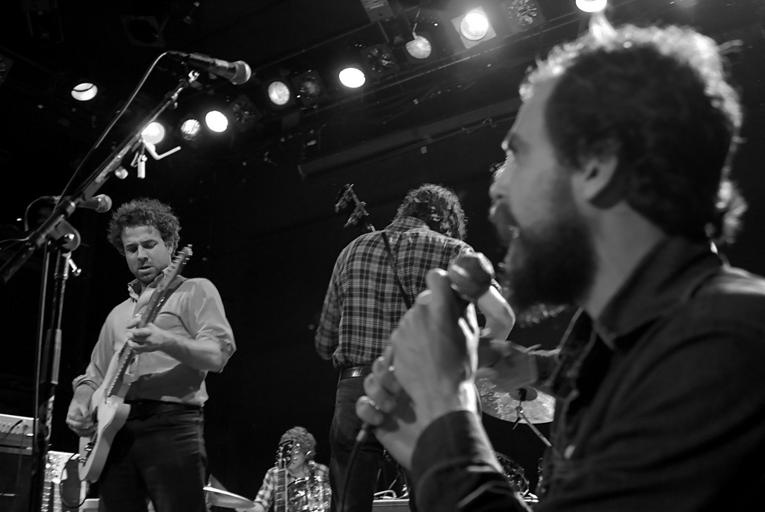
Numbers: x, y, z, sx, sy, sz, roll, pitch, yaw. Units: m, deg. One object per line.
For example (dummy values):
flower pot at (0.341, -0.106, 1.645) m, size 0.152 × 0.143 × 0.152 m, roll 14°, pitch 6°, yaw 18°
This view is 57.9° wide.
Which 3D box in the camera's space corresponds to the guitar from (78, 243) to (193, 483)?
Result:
guitar at (-1.419, 0.596, 3.917) m, size 0.246 × 1.332 × 0.713 m, roll 20°, pitch -35°, yaw -22°
